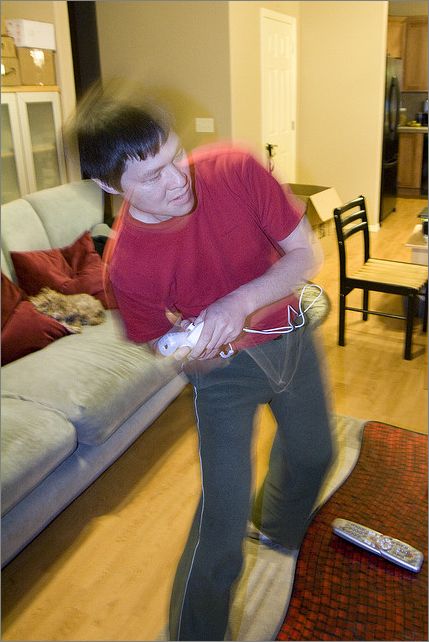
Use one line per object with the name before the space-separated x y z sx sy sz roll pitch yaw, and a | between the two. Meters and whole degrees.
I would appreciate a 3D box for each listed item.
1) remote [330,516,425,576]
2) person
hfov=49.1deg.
remote | 0.390 0.529 1.149 0.218 0.052 0.066 15 43 35
person | 0.021 0.146 0.852 0.293 0.926 0.560 9 17 38
